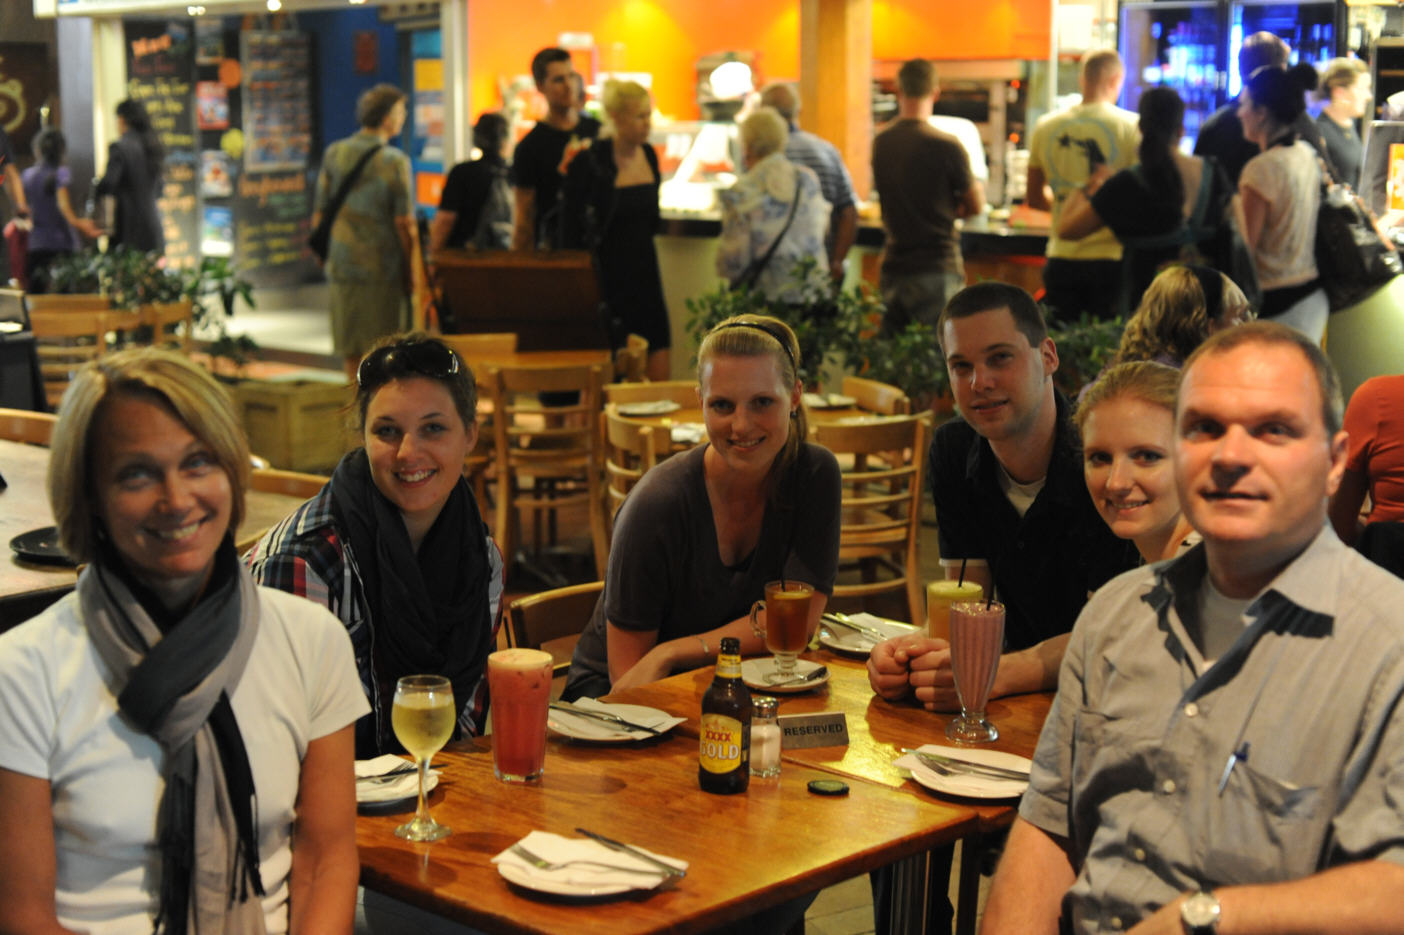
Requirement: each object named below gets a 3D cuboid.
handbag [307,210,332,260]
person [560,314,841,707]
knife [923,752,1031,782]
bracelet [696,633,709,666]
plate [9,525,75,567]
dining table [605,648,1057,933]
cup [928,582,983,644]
[{"bbox_3d":[-2.194,-1.342,7.424,0.062,0.258,0.178,19,-9,-33],"label":"handbag"},{"bbox_3d":[0.036,0.057,3.451,0.844,1.267,0.879,-1,12,-9],"label":"person"},{"bbox_3d":[0.520,0.580,2.487,0.217,0.032,0.064,0,30,7],"label":"knife"},{"bbox_3d":[0.009,0.438,3.123,0.014,0.051,0.051,1,38,-8],"label":"bracelet"},{"bbox_3d":[-1.612,0.196,3.145,0.110,0.019,0.117,8,15,17],"label":"plate"},{"bbox_3d":[0.319,0.485,2.709,0.702,0.440,0.719,4,6,44],"label":"dining table"},{"bbox_3d":[0.536,0.321,2.847,0.119,0.135,0.124,-2,1,0],"label":"cup"}]
